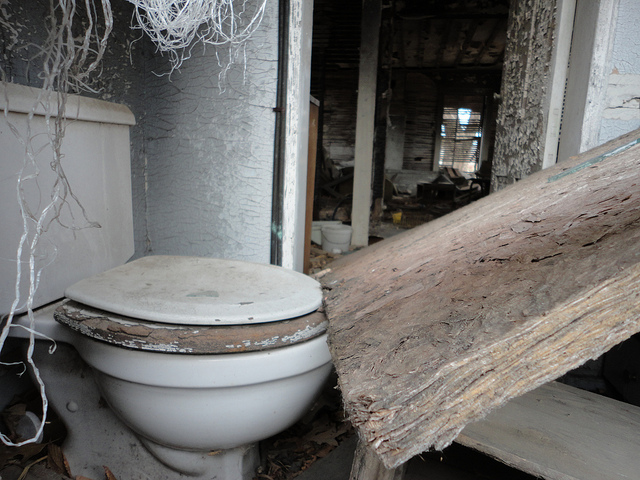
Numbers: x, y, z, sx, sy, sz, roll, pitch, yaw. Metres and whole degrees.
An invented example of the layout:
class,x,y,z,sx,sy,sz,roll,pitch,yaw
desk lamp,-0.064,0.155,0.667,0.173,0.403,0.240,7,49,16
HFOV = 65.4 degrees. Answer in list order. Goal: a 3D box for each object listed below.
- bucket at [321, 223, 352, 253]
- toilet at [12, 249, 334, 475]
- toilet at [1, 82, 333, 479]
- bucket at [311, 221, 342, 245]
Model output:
class,x,y,z,sx,sy,sz,roll,pitch,yaw
bucket,0.112,-0.018,3.768,0.221,0.181,0.223,1,7,0
toilet,-0.306,0.357,1.338,0.691,0.421,0.571,3,16,5
toilet,-0.428,0.071,1.644,1.156,1.112,0.806,4,15,6
bucket,0.034,-0.059,3.815,0.201,0.135,0.195,0,3,0
